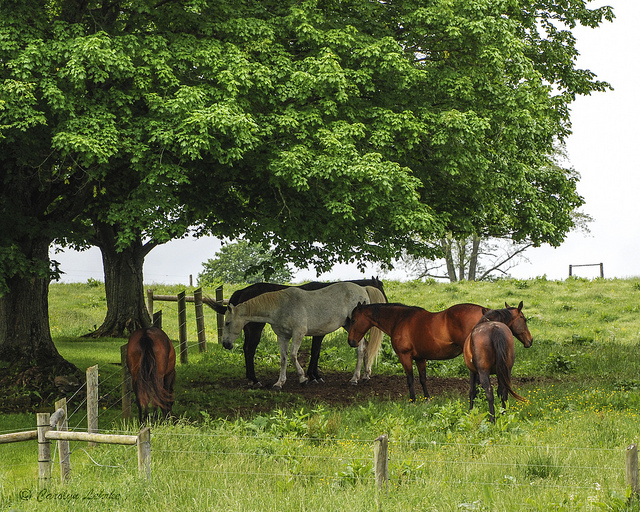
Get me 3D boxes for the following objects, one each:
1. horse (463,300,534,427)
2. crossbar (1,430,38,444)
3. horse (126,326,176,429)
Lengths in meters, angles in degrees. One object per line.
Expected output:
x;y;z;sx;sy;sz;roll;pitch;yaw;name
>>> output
4.467;2.585;29.065;1.365;2.824;3.561;1;1;14;horse
-6.754;4.060;26.246;0.792;0.227;0.339;-2;-3;-18;crossbar
-4.097;2.965;28.585;1.086;2.418;1.045;-2;-2;-14;horse
